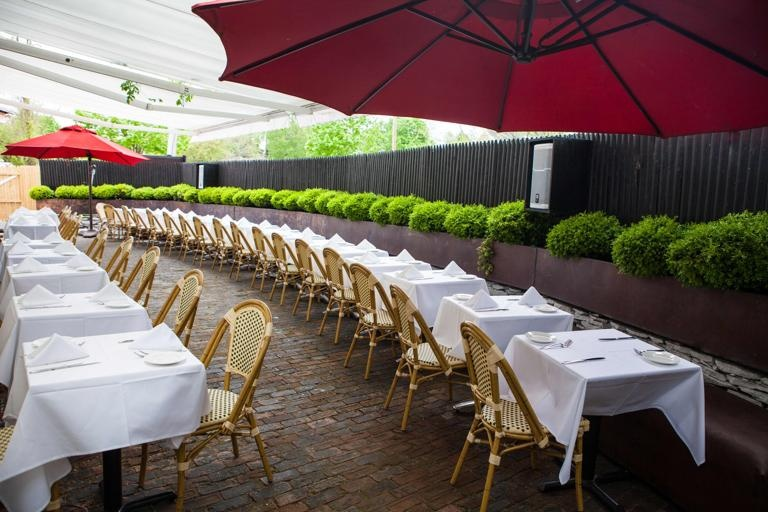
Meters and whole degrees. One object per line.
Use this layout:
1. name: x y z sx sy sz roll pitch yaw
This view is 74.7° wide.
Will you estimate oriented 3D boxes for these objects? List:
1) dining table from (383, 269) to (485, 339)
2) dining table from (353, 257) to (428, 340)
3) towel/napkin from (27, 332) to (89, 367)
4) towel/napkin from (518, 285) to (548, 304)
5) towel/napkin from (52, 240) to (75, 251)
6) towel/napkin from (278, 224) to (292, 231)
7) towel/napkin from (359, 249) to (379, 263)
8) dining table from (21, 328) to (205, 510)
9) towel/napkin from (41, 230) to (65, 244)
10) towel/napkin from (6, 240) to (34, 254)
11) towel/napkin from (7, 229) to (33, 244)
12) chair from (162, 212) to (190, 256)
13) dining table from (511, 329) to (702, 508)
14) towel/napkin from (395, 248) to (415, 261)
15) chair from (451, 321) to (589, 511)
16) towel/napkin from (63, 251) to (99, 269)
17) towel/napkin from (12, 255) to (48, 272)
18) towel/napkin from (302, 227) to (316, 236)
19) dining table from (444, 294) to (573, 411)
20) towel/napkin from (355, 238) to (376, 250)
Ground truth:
1. dining table: 0.557 0.465 6.377 0.806 0.439 0.826 -4 13 -21
2. dining table: 0.029 0.593 5.911 0.820 1.250 0.778 -3 8 -28
3. towel/napkin: -2.293 0.621 3.523 0.256 0.119 0.254 1 -2 -39
4. towel/napkin: 1.572 0.360 5.386 0.281 0.222 0.165 1 7 8
5. towel/napkin: -4.838 -0.147 7.529 0.217 0.109 0.305 0 1 -25
6. towel/napkin: -2.138 -0.586 10.791 0.206 0.106 0.221 1 -2 14
7. towel/napkin: -0.221 0.038 7.483 0.206 0.100 0.217 -2 8 -10
8. dining table: -1.860 0.949 3.514 1.167 0.727 0.628 -4 11 -21
9. towel/napkin: -5.425 -0.282 8.258 0.373 0.190 0.383 1 0 -22
10. towel/napkin: -5.096 -0.095 7.049 0.264 0.141 0.362 0 5 -30
11. towel/napkin: -6.246 -0.322 8.559 0.396 0.227 0.407 1 0 42
12. chair: -5.458 -0.575 13.128 0.851 1.421 0.954 -4 11 -27
13. dining table: 1.785 1.298 4.063 1.121 0.764 1.247 -1 7 -18
14. towel/napkin: 0.355 -0.016 8.363 0.245 0.138 0.284 1 2 2
15. chair: 1.070 1.221 3.971 1.004 1.432 0.987 5 12 23
16. towel/napkin: -4.026 0.062 6.630 0.291 0.162 0.412 0 0 -28
17. towel/napkin: -4.239 0.129 5.994 0.229 0.110 0.227 -3 8 -38
18. towel/napkin: -1.514 -0.466 10.123 0.296 0.167 0.314 1 -1 26
19. dining table: 1.223 0.687 5.239 1.100 0.745 1.324 -5 11 -21
20. towel/napkin: -0.340 -0.184 8.764 0.271 0.130 0.477 -1 10 -7
